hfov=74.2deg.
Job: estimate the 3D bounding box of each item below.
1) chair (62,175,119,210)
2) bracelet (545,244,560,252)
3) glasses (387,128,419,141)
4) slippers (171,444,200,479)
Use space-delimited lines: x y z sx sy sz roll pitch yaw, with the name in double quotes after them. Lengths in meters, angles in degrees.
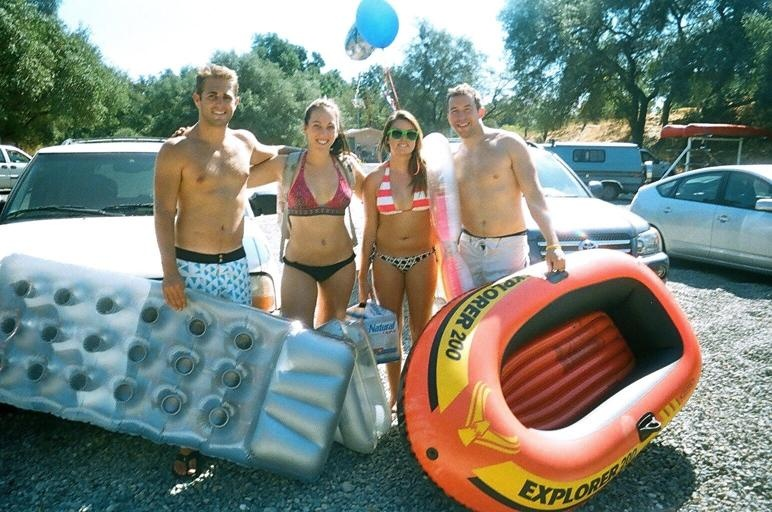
-3.126 -0.675 5.396 0.499 0.320 0.437 -1 13 -15 "chair"
1.444 -0.070 4.439 0.061 0.085 0.081 6 -27 -31 "bracelet"
0.158 -1.130 4.733 0.282 0.104 0.080 2 12 -1 "glasses"
-1.625 1.689 4.207 0.217 0.225 0.055 5 -7 0 "slippers"
